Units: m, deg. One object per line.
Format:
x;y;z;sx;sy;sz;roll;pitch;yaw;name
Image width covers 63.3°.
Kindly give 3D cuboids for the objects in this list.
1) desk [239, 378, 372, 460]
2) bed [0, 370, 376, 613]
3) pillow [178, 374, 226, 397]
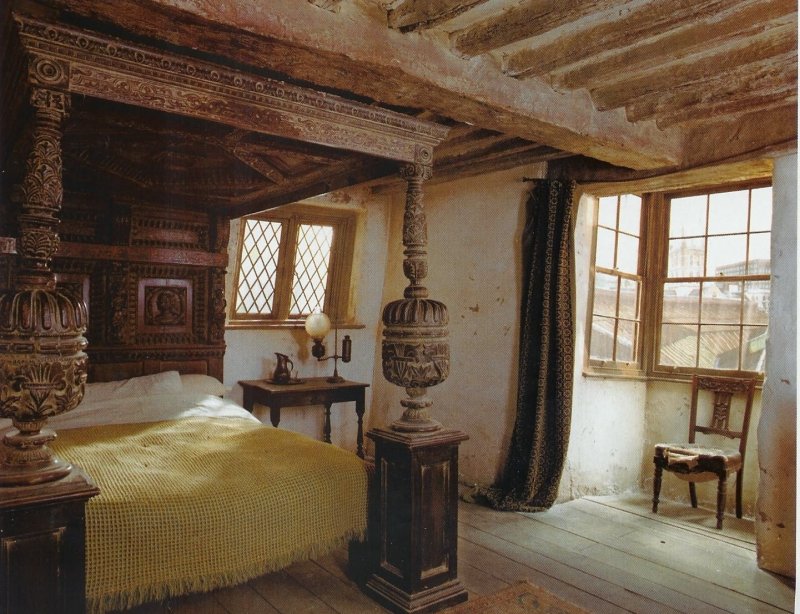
-0.966;1.266;6.518;1.321;0.887;0.836;2;-4;-37;desk
-1.364;1.151;4.205;1.501;0.687;1.761;1;4;-35;bed
-1.764;0.683;5.761;0.267;0.067;0.249;12;-3;-39;pillow
